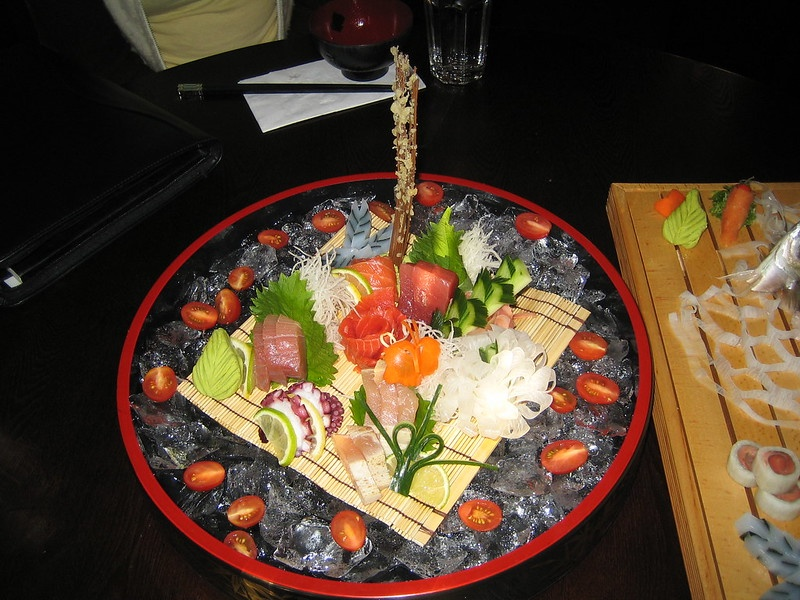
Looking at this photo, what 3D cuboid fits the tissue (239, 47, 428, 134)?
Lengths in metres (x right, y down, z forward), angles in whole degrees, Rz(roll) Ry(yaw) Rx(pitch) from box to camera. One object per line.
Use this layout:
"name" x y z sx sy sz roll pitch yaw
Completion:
"tissue" -0.519 -1.170 3.295 0.919 0.009 0.445 -15 58 -8
